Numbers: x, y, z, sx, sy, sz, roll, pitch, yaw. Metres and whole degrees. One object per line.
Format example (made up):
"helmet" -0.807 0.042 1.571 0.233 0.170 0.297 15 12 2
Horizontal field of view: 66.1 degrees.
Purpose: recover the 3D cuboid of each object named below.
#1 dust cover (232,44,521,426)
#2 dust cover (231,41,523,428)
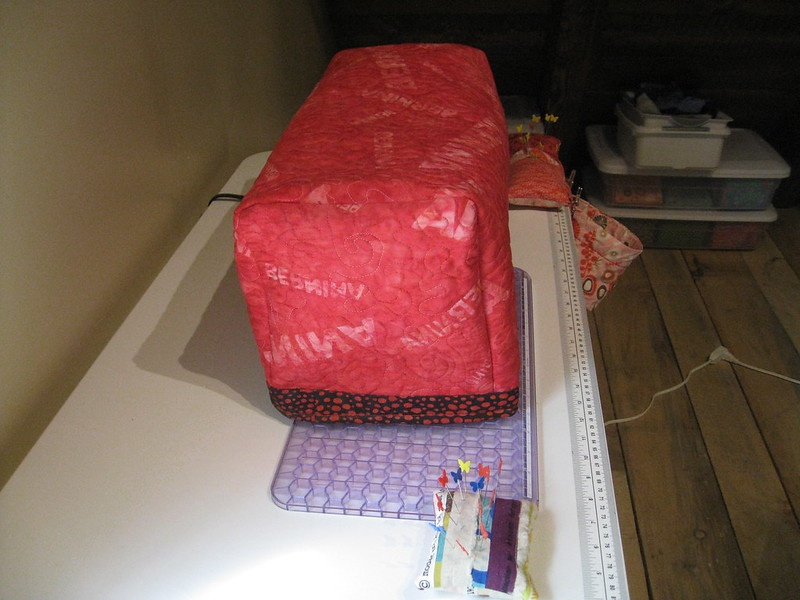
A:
"dust cover" -0.027 -0.013 1.192 0.512 0.504 0.716 -1 48 7
"dust cover" -0.045 -0.099 1.214 0.478 0.401 0.661 -1 25 0
